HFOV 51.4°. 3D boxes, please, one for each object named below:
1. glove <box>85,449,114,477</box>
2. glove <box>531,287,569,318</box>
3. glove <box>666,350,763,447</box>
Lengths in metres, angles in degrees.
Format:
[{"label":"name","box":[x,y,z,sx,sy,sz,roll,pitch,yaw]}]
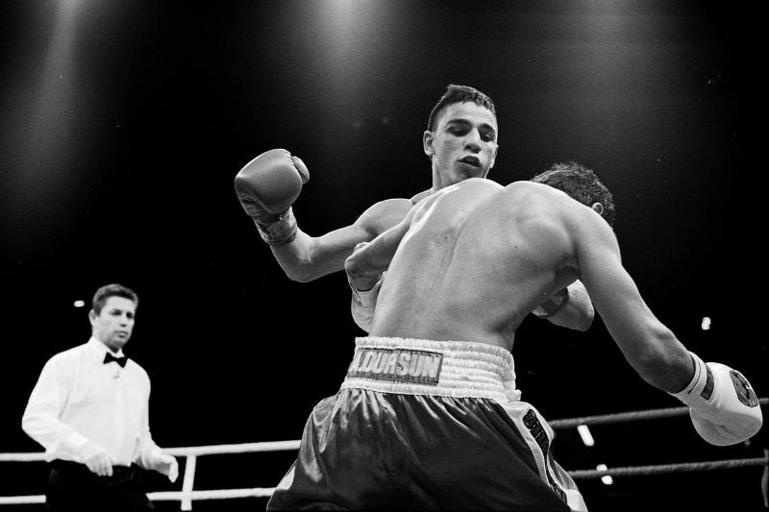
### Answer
[{"label":"glove","box":[-2.065,1.511,5.766,0.177,0.251,0.138,-3,18,-23]},{"label":"glove","box":[0.910,0.267,4.349,0.196,0.080,0.148,-37,-1,7]},{"label":"glove","box":[1.668,0.749,4.028,0.346,0.569,0.274,-23,38,26]}]
